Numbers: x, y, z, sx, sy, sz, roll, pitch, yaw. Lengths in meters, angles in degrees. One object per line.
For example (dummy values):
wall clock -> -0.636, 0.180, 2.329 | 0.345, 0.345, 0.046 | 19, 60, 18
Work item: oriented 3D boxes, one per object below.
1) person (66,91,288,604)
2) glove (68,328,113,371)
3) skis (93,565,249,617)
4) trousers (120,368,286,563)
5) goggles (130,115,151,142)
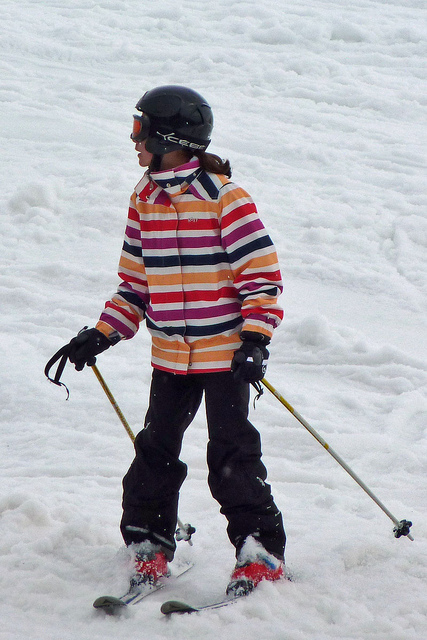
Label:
person -> -0.059, 0.110, 4.091 | 0.780, 2.245, 1.177 | -12, 25, -39
glove -> -0.603, 0.139, 4.279 | 0.117, 0.186, 0.203 | 21, 24, 40
skis -> -0.299, 1.262, 3.969 | 0.243, 0.047, 0.414 | 4, 6, 42
trousers -> -0.030, 0.695, 4.204 | 0.806, 0.957, 0.478 | 5, 19, 1
goggles -> -0.344, -0.898, 4.111 | 0.103, 0.123, 0.056 | 13, 21, 25
